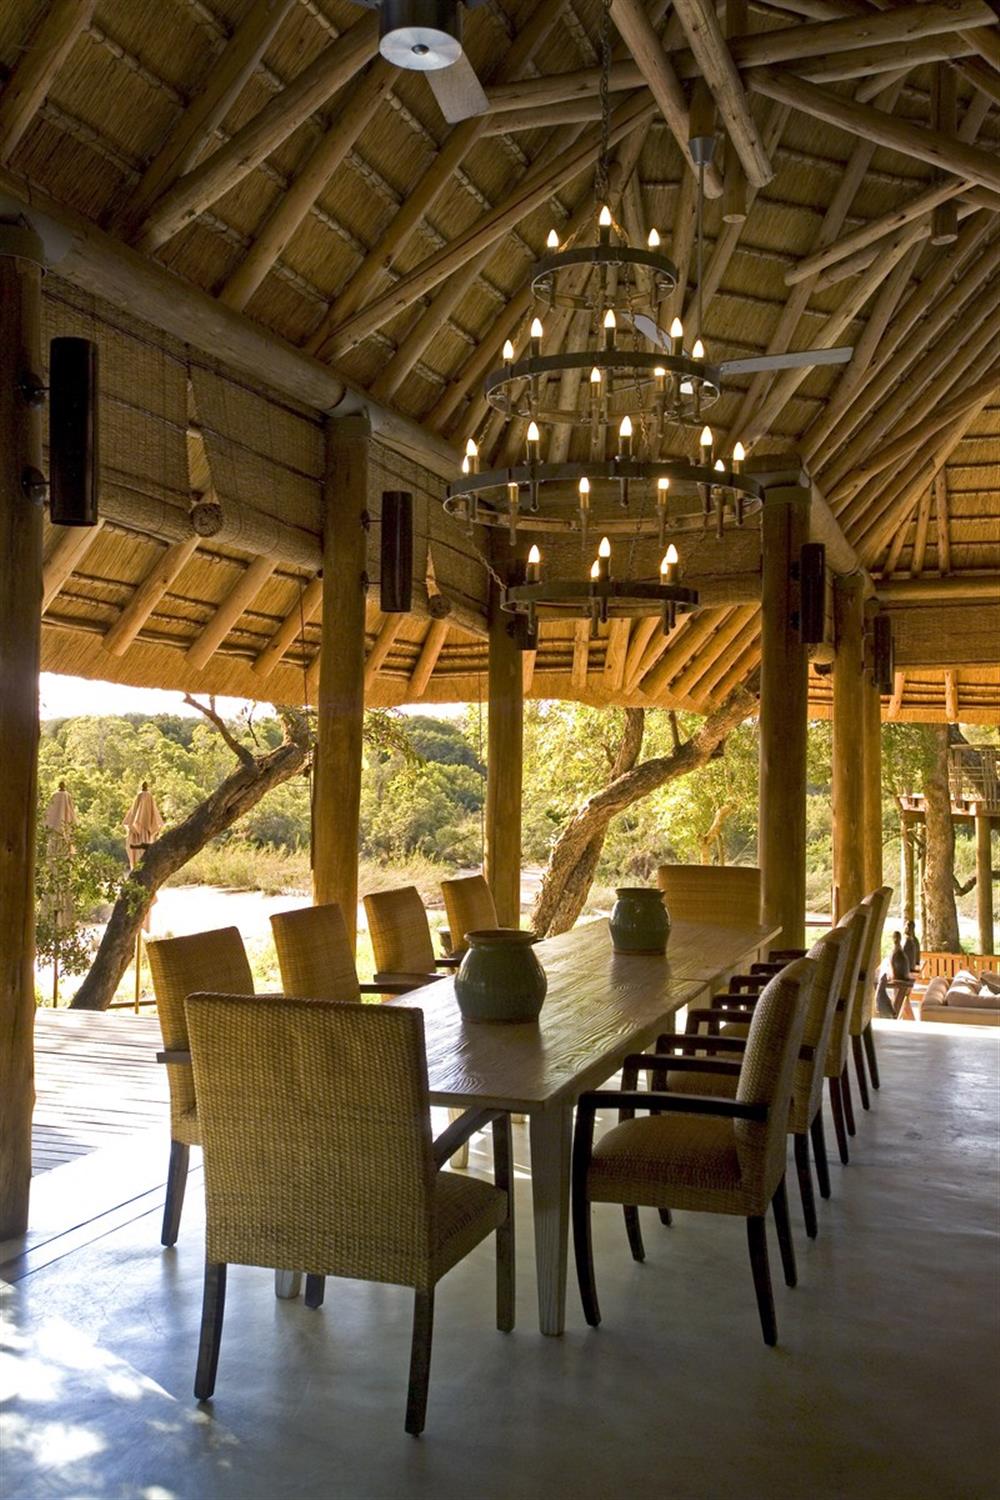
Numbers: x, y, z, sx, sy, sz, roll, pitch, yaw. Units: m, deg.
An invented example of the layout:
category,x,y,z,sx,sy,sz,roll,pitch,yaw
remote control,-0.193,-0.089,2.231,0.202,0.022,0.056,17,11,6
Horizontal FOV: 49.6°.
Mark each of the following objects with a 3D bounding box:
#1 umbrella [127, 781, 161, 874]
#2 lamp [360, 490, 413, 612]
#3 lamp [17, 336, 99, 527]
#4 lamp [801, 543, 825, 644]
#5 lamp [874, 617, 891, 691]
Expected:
category,x,y,z,sx,sy,sz,roll,pitch,yaw
umbrella,-3.110,0.654,9.377,0.243,0.785,1.352,4,-9,-19
lamp,-0.486,-0.958,5.052,0.142,0.640,0.225,2,-8,-9
lamp,-1.152,-0.868,2.908,0.135,0.481,0.135,2,-8,-9
lamp,1.722,-0.888,6.003,0.119,0.590,0.110,0,-8,9
lamp,3.331,-0.872,9.448,0.157,0.706,0.459,-2,-9,20
